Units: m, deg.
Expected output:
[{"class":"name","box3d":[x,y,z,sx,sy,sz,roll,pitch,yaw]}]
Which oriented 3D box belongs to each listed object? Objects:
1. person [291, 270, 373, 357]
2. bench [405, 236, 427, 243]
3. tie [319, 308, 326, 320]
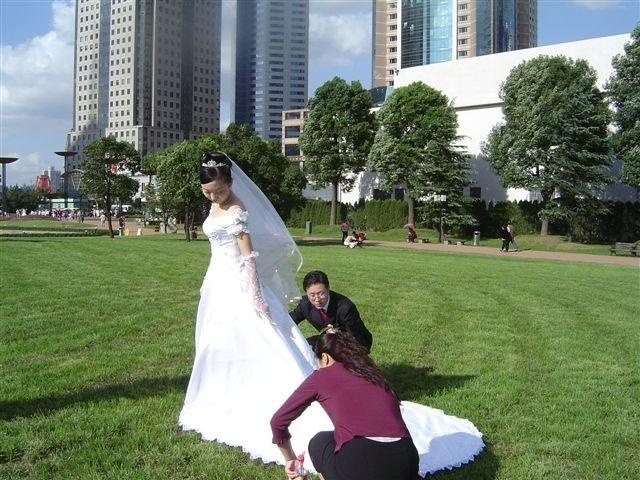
[{"class":"person","box3d":[0.216,1.265,9.249,0.798,1.564,0.966,15,53,32]},{"class":"bench","box3d":[7.787,0.065,43.546,1.715,0.339,1.996,2,7,4]},{"class":"tie","box3d":[0.049,1.132,8.229,0.032,0.122,0.115,-10,20,-40]}]
